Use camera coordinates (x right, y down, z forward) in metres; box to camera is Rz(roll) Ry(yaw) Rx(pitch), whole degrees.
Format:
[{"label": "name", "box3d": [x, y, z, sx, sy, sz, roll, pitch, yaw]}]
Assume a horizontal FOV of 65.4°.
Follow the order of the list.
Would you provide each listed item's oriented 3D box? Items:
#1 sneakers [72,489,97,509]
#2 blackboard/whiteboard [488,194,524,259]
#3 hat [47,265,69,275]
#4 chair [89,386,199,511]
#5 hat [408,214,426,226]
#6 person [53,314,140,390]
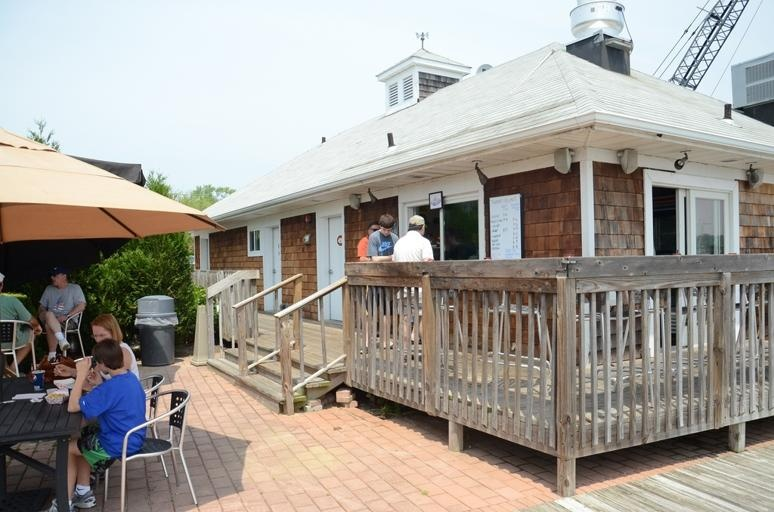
[{"label": "sneakers", "box3d": [-3.361, 2.661, 6.661, 0.315, 0.148, 0.120, 4, 5, 32]}, {"label": "blackboard/whiteboard", "box3d": [1.968, -0.515, 10.140, 0.225, 1.065, 0.755, -9, 12, -39]}, {"label": "hat", "box3d": [-5.744, 0.232, 10.529, 0.209, 0.086, 0.151, 7, 1, 11]}, {"label": "chair", "box3d": [-2.839, 2.102, 7.250, 1.249, 1.706, 1.343, 4, -4, -27]}, {"label": "hat", "box3d": [0.506, -0.594, 9.731, 0.173, 0.110, 0.275, 1, 6, 15]}, {"label": "person", "box3d": [-3.362, 1.142, 7.079, 0.586, 0.893, 0.896, 6, 15, 22]}]
